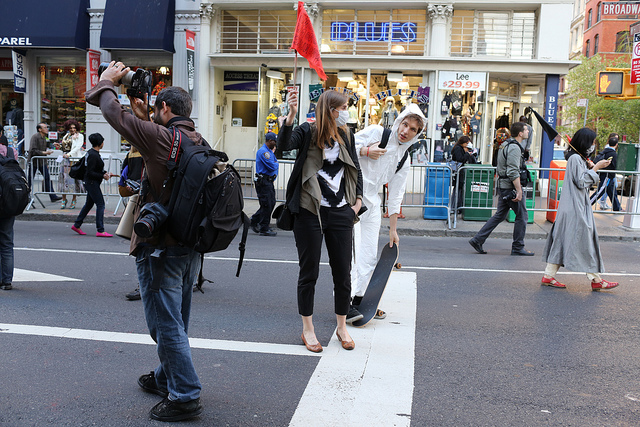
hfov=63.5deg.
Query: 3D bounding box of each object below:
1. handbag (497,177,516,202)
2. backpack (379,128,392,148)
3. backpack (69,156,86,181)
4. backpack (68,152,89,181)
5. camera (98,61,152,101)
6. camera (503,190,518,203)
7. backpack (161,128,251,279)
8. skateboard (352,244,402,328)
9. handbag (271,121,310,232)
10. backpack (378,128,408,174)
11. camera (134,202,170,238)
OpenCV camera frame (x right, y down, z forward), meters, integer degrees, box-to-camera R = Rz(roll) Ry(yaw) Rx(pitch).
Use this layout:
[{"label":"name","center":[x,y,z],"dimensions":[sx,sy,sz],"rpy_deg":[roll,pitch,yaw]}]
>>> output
[{"label":"handbag","center":[3.757,-0.487,10.392],"dimensions":[0.261,0.499,0.359],"rpy_deg":[-21,7,6]},{"label":"backpack","center":[0.811,-0.920,6.407],"dimensions":[0.135,0.200,0.183],"rpy_deg":[1,-10,-28]},{"label":"backpack","center":[-5.337,-0.987,11.464],"dimensions":[0.302,0.515,0.317],"rpy_deg":[-4,12,-28]},{"label":"backpack","center":[-5.302,-1.023,11.423],"dimensions":[0.299,0.623,0.564],"rpy_deg":[-9,15,-44]},{"label":"camera","center":[-1.850,-1.219,5.011],"dimensions":[0.363,0.218,0.364],"rpy_deg":[18,28,-1]},{"label":"camera","center":[3.819,-0.329,10.387],"dimensions":[0.089,0.137,0.229],"rpy_deg":[-12,-16,-47]},{"label":"backpack","center":[-1.061,-0.124,4.712],"dimensions":[0.715,0.923,0.257],"rpy_deg":[-2,11,-18]},{"label":"skateboard","center":[0.818,1.062,6.848],"dimensions":[0.349,1.418,0.234],"rpy_deg":[13,-21,40]},{"label":"handbag","center":[-0.320,-0.370,5.927],"dimensions":[0.292,1.113,0.285],"rpy_deg":[13,1,-6]},{"label":"backpack","center":[1.001,-0.760,6.480],"dimensions":[0.345,0.471,0.489],"rpy_deg":[23,11,26]},{"label":"camera","center":[-1.497,0.043,4.657],"dimensions":[0.233,0.245,0.257],"rpy_deg":[15,34,42]}]
